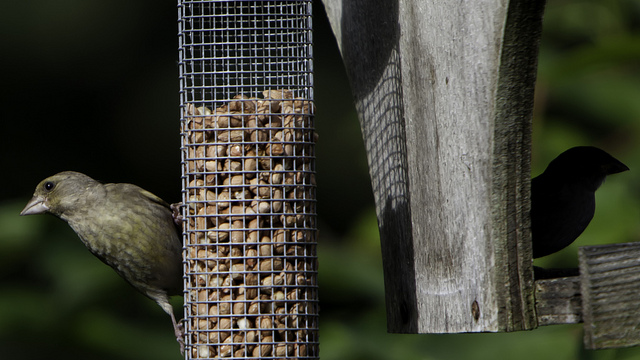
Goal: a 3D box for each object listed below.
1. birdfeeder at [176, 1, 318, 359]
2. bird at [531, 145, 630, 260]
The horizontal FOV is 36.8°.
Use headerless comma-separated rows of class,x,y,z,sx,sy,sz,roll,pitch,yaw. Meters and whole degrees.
birdfeeder,-0.548,-0.066,7.104,1.018,2.756,1.057,-3,-5,-9
bird,1.867,0.142,7.033,0.688,0.794,0.235,-4,-5,5
